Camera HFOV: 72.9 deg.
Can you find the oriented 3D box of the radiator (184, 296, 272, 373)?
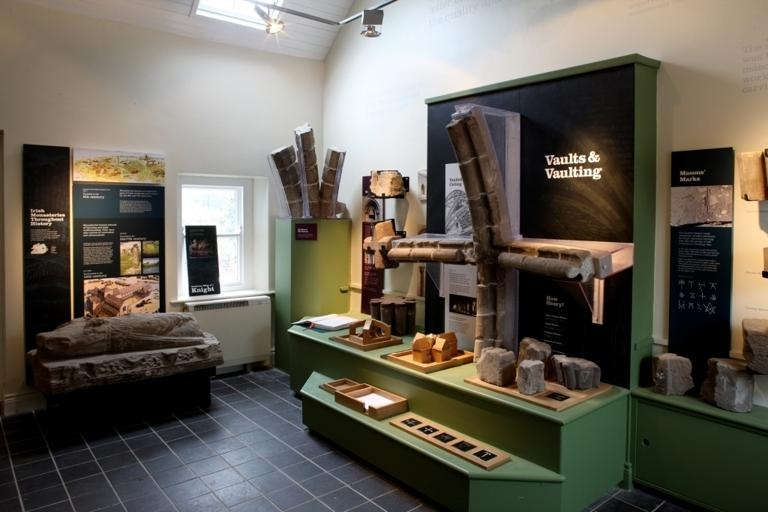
[{"bbox_3d":[-2.161,1.145,7.338,1.107,1.029,0.371,-4,-12,-34],"label":"radiator"}]
